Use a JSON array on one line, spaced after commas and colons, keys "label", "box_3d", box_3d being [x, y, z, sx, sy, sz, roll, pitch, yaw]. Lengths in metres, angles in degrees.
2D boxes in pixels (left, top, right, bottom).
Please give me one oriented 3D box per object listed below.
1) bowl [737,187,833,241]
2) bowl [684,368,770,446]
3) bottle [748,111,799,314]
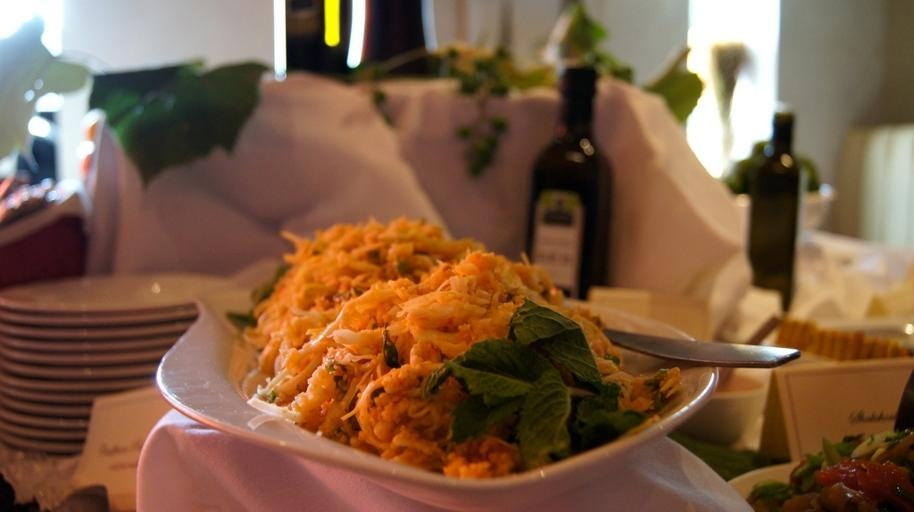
[{"label": "bowl", "box_3d": [0.658, -0.082, 1.536, 0.150, 0.095, 0.147, 0, -1, 0]}, {"label": "bowl", "box_3d": [0.463, 0.263, 1.335, 0.147, 0.093, 0.143, -1, -4, 0]}, {"label": "bottle", "box_3d": [0.657, -0.090, 1.585, 0.100, 0.416, 0.056, 2, 15, 22]}]
